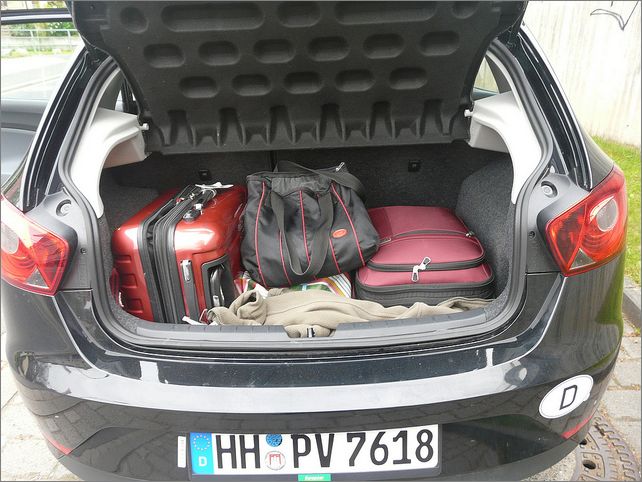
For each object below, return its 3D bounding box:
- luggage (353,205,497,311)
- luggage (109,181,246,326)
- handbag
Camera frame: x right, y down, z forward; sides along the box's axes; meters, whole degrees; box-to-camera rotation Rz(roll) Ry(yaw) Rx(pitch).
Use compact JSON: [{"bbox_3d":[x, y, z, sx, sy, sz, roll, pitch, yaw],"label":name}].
[{"bbox_3d":[0.396,0.067,1.958,0.363,0.110,0.395,-5,31,-1],"label":"luggage"},{"bbox_3d":[-0.541,0.027,2.117,0.366,0.533,0.631,7,28,4],"label":"luggage"},{"bbox_3d":[-0.072,-0.063,2.083,0.506,0.295,0.540,-11,81,8],"label":"handbag"}]
